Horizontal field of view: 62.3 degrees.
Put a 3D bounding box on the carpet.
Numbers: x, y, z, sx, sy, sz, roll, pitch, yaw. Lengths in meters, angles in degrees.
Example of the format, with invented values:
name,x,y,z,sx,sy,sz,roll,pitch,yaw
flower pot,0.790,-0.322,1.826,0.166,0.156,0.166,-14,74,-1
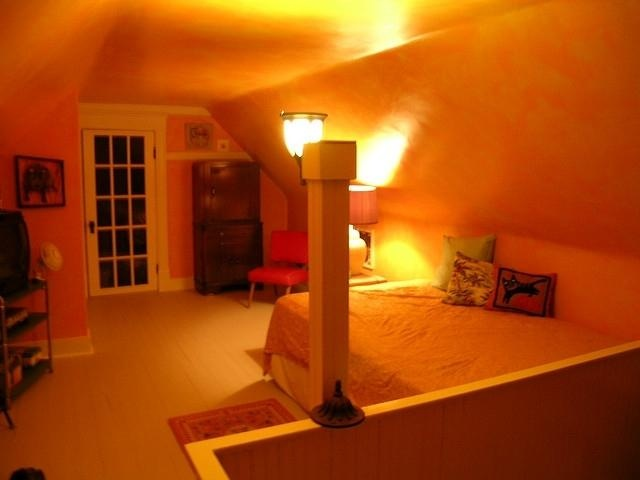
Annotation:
name,x,y,z,sx,sy,sz,roll,pitch,yaw
carpet,-0.624,1.287,3.814,0.877,0.047,0.411,-4,13,-25

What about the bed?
name,x,y,z,sx,sy,sz,roll,pitch,yaw
bed,0.804,0.718,3.923,1.901,1.130,1.907,-4,12,-25

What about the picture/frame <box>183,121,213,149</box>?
name,x,y,z,sx,sy,sz,roll,pitch,yaw
picture/frame,-1.597,-1.373,6.872,0.337,0.346,0.047,-4,9,-27

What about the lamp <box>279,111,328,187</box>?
name,x,y,z,sx,sy,sz,roll,pitch,yaw
lamp,-0.119,-0.710,3.794,0.312,0.395,0.361,1,11,-1

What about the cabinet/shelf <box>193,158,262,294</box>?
name,x,y,z,sx,sy,sz,roll,pitch,yaw
cabinet/shelf,-1.144,-0.164,6.823,0.809,1.674,0.287,-5,13,-28
